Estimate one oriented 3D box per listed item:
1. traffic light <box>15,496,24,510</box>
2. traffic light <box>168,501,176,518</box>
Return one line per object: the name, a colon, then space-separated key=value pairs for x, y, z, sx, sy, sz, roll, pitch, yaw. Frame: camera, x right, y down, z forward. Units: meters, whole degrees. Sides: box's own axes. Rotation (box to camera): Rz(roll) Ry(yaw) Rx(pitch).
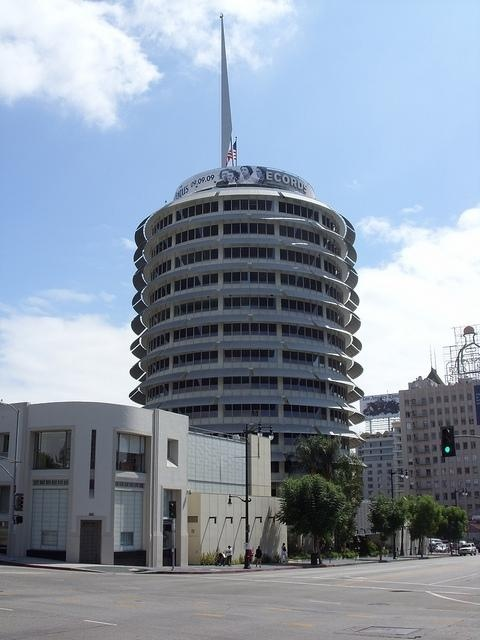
traffic light: x=-12.466 y=10.327 z=43.205 sx=0.300 sy=0.858 sz=0.651 roll=-5 pitch=8 yaw=-5
traffic light: x=-3.735 y=10.507 z=42.207 sx=0.289 sy=0.873 sz=0.606 roll=5 pitch=-14 yaw=-13
